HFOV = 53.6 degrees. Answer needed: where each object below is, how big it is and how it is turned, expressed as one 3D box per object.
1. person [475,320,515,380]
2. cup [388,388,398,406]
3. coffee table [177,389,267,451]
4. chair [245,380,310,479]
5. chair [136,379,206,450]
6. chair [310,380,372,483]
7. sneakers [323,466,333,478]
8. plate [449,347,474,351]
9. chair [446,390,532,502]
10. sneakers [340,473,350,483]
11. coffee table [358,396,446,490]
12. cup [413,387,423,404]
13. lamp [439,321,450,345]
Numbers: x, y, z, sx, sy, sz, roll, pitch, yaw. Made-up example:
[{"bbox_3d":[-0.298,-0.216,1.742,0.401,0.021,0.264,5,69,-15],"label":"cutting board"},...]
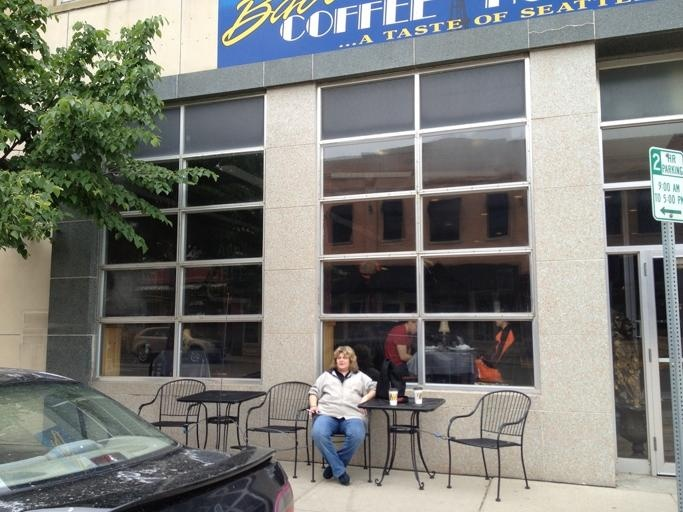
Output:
[{"bbox_3d":[2.124,1.325,9.351,0.518,0.834,0.199,1,9,13],"label":"person"},{"bbox_3d":[0.677,1.865,8.930,0.157,0.223,0.159,1,-13,0],"label":"cup"},{"bbox_3d":[-1.715,2.436,9.789,1.024,0.827,1.046,11,-16,-24],"label":"coffee table"},{"bbox_3d":[-0.864,2.439,9.672,0.958,1.210,0.928,-7,-10,43],"label":"chair"},{"bbox_3d":[-2.493,2.436,10.118,0.900,1.174,0.874,-5,-12,24],"label":"chair"},{"bbox_3d":[-0.081,2.491,9.089,0.774,1.029,0.617,0,9,8],"label":"chair"},{"bbox_3d":[-0.182,2.932,9.152,0.116,0.157,0.059,2,-15,5],"label":"sneakers"},{"bbox_3d":[1.687,1.294,9.502,0.325,0.086,0.018,1,9,15],"label":"plate"},{"bbox_3d":[1.949,2.449,8.895,1.170,1.310,1.194,0,-5,15],"label":"chair"},{"bbox_3d":[0.040,2.942,8.901,0.140,0.136,0.138,-3,9,-12],"label":"sneakers"},{"bbox_3d":[0.810,2.552,9.265,1.248,1.059,1.259,-6,-9,24],"label":"coffee table"},{"bbox_3d":[1.054,1.878,9.063,0.162,0.256,0.159,0,-8,0],"label":"cup"},{"bbox_3d":[1.455,1.093,9.580,0.140,0.348,0.087,0,9,7],"label":"lamp"}]
